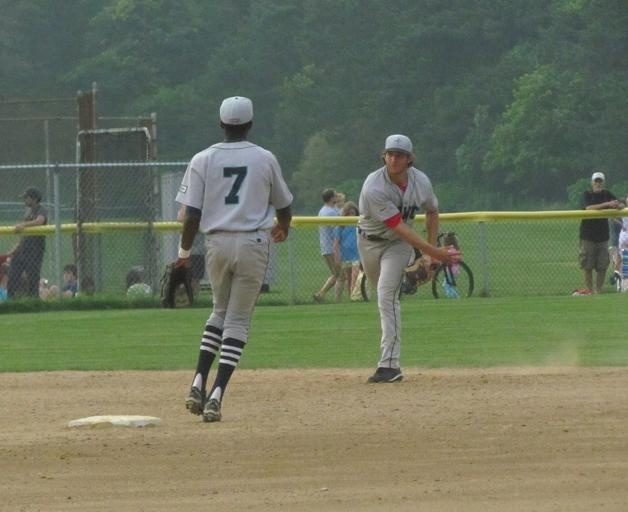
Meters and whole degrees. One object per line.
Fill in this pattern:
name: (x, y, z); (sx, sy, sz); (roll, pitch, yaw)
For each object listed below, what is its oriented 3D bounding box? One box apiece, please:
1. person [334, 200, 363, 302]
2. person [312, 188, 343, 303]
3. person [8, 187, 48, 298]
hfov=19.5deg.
person: (1.231, 0.070, 59.180); (0.829, 3.236, 0.809); (10, 24, 32)
person: (0.617, -0.286, 59.328); (0.771, 3.692, 0.938); (0, 10, -26)
person: (-9.088, -0.381, 58.740); (1.182, 3.588, 0.688); (1, 3, -10)
